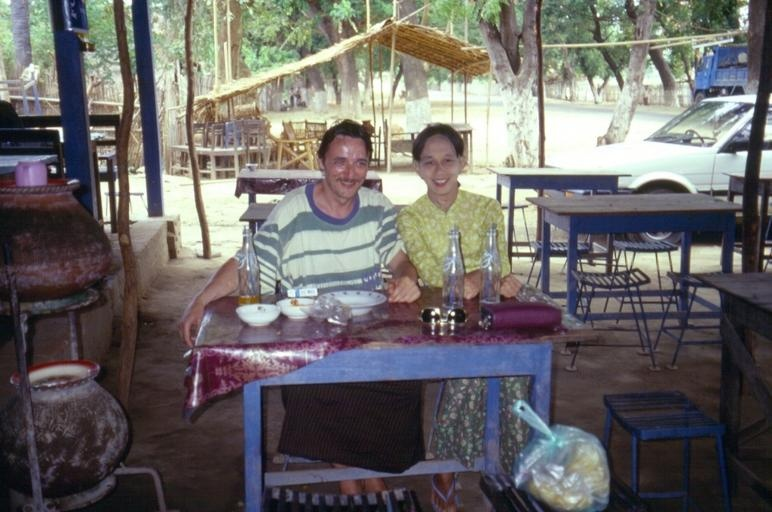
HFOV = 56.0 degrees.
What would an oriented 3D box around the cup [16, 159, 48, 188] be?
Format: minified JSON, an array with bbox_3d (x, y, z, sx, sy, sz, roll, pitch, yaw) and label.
[{"bbox_3d":[-2.317,-0.533,4.708,0.182,0.140,0.176,-1,10,0],"label":"cup"}]

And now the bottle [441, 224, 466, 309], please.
[{"bbox_3d":[0.443,0.079,4.761,0.144,0.521,0.157,0,1,0],"label":"bottle"}]

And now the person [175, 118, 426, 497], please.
[{"bbox_3d":[-0.495,0.362,5.077,1.433,2.565,0.668,-2,11,-5],"label":"person"}]

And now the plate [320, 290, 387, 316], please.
[{"bbox_3d":[-0.217,0.302,4.714,0.352,0.115,0.354,5,12,28],"label":"plate"}]
